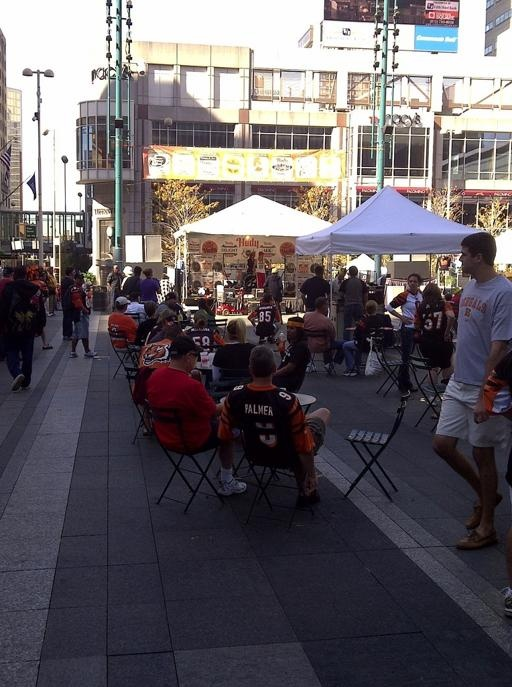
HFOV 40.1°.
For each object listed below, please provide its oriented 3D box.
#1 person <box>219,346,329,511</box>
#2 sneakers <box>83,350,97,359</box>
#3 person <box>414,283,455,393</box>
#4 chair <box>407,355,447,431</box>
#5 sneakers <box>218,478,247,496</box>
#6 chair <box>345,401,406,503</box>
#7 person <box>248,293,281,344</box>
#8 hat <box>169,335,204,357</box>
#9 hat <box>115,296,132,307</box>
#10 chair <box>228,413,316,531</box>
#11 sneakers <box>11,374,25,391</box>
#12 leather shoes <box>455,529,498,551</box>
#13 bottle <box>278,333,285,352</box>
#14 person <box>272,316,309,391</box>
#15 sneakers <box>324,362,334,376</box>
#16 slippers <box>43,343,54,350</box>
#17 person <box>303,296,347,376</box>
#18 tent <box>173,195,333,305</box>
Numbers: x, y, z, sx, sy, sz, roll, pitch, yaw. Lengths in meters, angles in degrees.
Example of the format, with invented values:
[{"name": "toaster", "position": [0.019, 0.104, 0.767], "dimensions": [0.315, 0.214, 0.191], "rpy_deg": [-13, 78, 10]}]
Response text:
[{"name": "person", "position": [0.128, 0.644, 5.003], "dimensions": [0.727, 1.255, 0.659], "rpy_deg": [-1, 4, -15]}, {"name": "sneakers", "position": [-3.600, 0.251, 15.473], "dimensions": [0.136, 0.129, 0.262], "rpy_deg": [3, 13, -2]}, {"name": "person", "position": [2.566, -0.030, 10.054], "dimensions": [0.534, 1.765, 0.561], "rpy_deg": [-2, 20, 16]}, {"name": "chair", "position": [2.432, 0.613, 9.665], "dimensions": [0.598, 0.816, 0.627], "rpy_deg": [0, 0, 24]}, {"name": "sneakers", "position": [-0.177, 1.179, 5.776], "dimensions": [0.096, 0.115, 0.258], "rpy_deg": [5, 7, 38]}, {"name": "chair", "position": [0.986, 0.867, 5.908], "dimensions": [0.577, 0.858, 0.540], "rpy_deg": [2, 3, 28]}, {"name": "person", "position": [0.233, -0.416, 14.223], "dimensions": [0.523, 1.207, 0.672], "rpy_deg": [6, 24, 20]}, {"name": "hat", "position": [-0.539, 0.043, 5.466], "dimensions": [0.136, 0.122, 0.204], "rpy_deg": [3, 18, 25]}, {"name": "hat", "position": [-2.507, -0.778, 13.326], "dimensions": [0.245, 0.115, 0.365], "rpy_deg": [-1, 7, -2]}, {"name": "chair", "position": [0.159, 1.091, 5.828], "dimensions": [0.498, 0.932, 0.641], "rpy_deg": [4, 16, 28]}, {"name": "sneakers", "position": [-3.655, 0.618, 10.902], "dimensions": [0.098, 0.249, 0.098], "rpy_deg": [10, 31, -47]}, {"name": "leather shoes", "position": [1.432, 1.277, 4.603], "dimensions": [0.282, 0.120, 0.106], "rpy_deg": [-2, -5, -19]}, {"name": "bottle", "position": [0.380, -0.003, 10.119], "dimensions": [0.085, 0.082, 0.312], "rpy_deg": [-9, 33, 16]}, {"name": "person", "position": [0.336, 0.156, 7.791], "dimensions": [0.507, 0.915, 0.427], "rpy_deg": [2, 2, -11]}, {"name": "sneakers", "position": [1.400, 0.485, 13.193], "dimensions": [0.215, 0.280, 0.186], "rpy_deg": [5, 23, 9]}, {"name": "slippers", "position": [-4.955, 0.094, 16.954], "dimensions": [0.110, 0.098, 0.236], "rpy_deg": [2, 9, 0]}, {"name": "person", "position": [1.255, -0.103, 12.614], "dimensions": [0.781, 1.422, 0.591], "rpy_deg": [-4, 9, -41]}, {"name": "tent", "position": [0.353, -3.716, 28.629], "dimensions": [4.856, 3.187, 5.093], "rpy_deg": [3, 10, 19]}]
